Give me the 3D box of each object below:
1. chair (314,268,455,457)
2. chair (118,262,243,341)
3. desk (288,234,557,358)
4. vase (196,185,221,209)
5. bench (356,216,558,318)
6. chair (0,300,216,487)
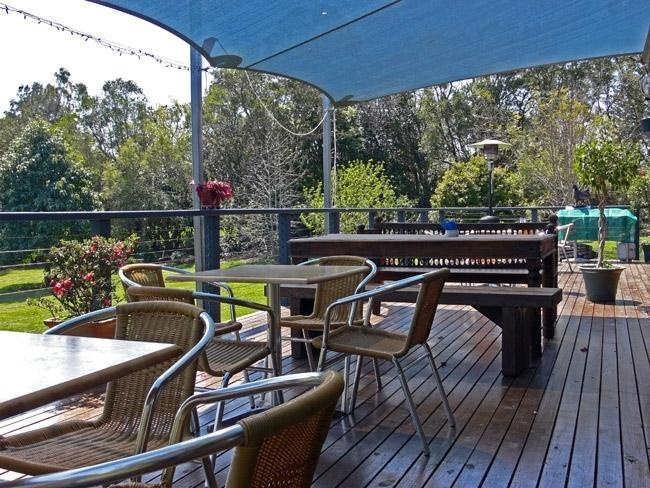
[{"bbox_3d":[0.591,0.570,2.922,0.934,1.075,0.851,4,0,25],"label":"chair"},{"bbox_3d":[-0.883,0.245,2.932,0.677,0.557,0.612,1,3,18],"label":"chair"},{"bbox_3d":[1.345,0.422,5.067,1.732,0.746,0.921,1,25,27],"label":"desk"},{"bbox_3d":[-1.133,-0.450,4.731,0.231,0.188,0.242,0,-5,-12],"label":"vase"},{"bbox_3d":[1.393,0.301,5.287,1.951,0.845,0.610,-8,4,5],"label":"bench"},{"bbox_3d":[-0.617,0.494,1.583,0.626,0.480,0.651,-1,-5,29],"label":"chair"}]
